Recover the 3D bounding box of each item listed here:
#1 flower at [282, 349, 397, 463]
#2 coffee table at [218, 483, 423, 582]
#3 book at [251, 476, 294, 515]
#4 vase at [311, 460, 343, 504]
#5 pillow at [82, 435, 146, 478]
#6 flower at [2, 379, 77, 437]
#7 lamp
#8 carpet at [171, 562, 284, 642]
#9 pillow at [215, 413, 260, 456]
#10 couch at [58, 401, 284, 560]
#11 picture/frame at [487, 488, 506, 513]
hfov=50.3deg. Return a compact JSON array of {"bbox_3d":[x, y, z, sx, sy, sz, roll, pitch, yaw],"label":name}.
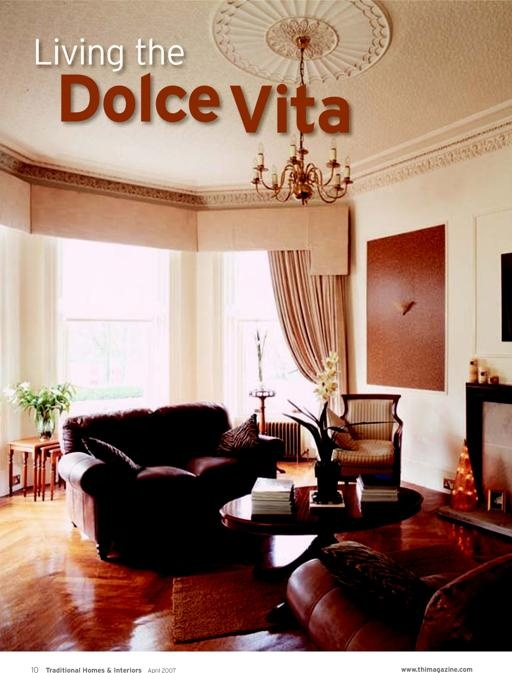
[{"bbox_3d":[0.603,0.619,4.474,1.002,0.909,1.072,1,1,2],"label":"flower"},{"bbox_3d":[0.318,1.012,2.810,0.686,0.221,0.452,0,-6,-16],"label":"coffee table"},{"bbox_3d":[0.088,0.851,2.893,0.258,0.115,0.348,1,-3,2],"label":"book"},{"bbox_3d":[0.386,0.815,3.056,0.209,0.231,0.208,0,-7,2],"label":"vase"},{"bbox_3d":[-0.921,0.815,3.698,0.303,0.272,0.408,-2,-1,42],"label":"pillow"},{"bbox_3d":[-2.022,0.655,5.044,0.524,0.428,0.508,3,-6,-38],"label":"flower"},{"bbox_3d":[0.325,-1.529,3.793,0.653,1.200,0.685,0,-4,13],"label":"lamp"},{"bbox_3d":[-0.117,1.355,2.785,0.618,0.034,0.732,-1,-1,-9],"label":"carpet"},{"bbox_3d":[-0.186,0.810,4.392,0.293,0.094,0.309,-34,23,22],"label":"pillow"},{"bbox_3d":[-0.610,1.054,3.911,1.602,0.968,0.878,6,-17,-36],"label":"couch"},{"bbox_3d":[1.805,1.229,4.076,0.154,0.201,0.027,1,-8,22],"label":"picture/frame"}]
